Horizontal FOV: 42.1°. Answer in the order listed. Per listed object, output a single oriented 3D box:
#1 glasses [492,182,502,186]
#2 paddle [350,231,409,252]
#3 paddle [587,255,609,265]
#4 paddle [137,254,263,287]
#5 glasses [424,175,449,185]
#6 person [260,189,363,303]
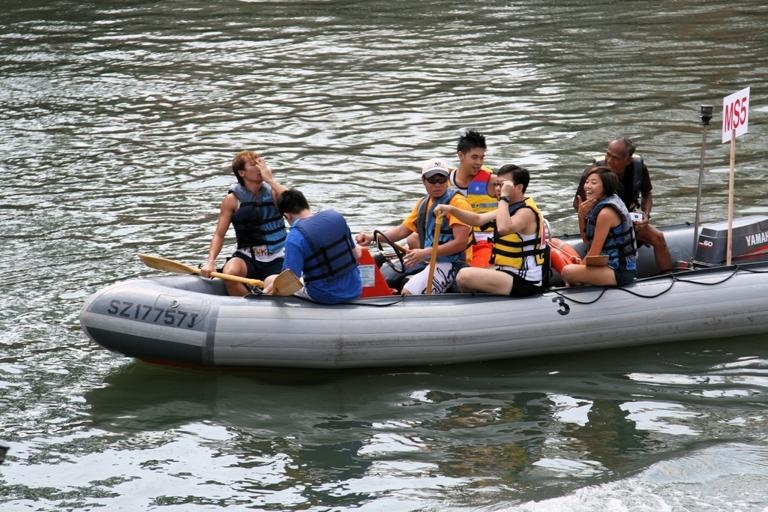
[{"bbox_3d":[1.263,-0.809,11.205,0.115,0.025,0.109,1,0,10],"label":"glasses"},{"bbox_3d":[-0.095,-0.195,11.783,0.392,0.096,0.478,18,-8,-38],"label":"paddle"},{"bbox_3d":[2.411,0.070,11.317,0.296,0.119,0.043,2,42,1],"label":"paddle"},{"bbox_3d":[-2.102,0.221,11.748,2.047,0.156,0.173,16,30,-52],"label":"paddle"},{"bbox_3d":[0.595,-0.870,11.349,0.204,0.034,0.127,-2,31,-4],"label":"glasses"},{"bbox_3d":[-0.825,-0.079,10.979,0.936,1.312,0.298,-11,12,-18],"label":"person"}]
